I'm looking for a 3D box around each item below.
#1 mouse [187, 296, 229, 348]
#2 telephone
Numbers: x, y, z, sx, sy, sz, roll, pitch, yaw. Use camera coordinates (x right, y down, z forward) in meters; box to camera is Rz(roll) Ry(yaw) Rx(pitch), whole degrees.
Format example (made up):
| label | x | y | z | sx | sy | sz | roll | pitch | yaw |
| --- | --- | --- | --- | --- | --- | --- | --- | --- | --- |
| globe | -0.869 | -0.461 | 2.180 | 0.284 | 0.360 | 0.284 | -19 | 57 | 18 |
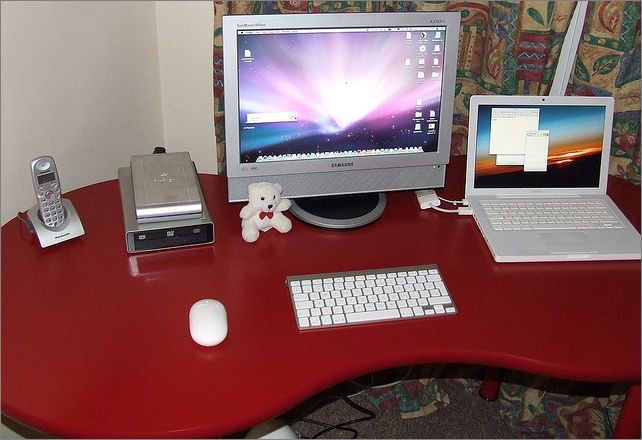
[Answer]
| label | x | y | z | sx | sy | sz | roll | pitch | yaw |
| --- | --- | --- | --- | --- | --- | --- | --- | --- | --- |
| mouse | -0.255 | 0.230 | 1.082 | 0.089 | 0.073 | 0.086 | -7 | 26 | -11 |
| telephone | -0.761 | -0.045 | 1.366 | 0.138 | 0.236 | 0.187 | -24 | 50 | -32 |
